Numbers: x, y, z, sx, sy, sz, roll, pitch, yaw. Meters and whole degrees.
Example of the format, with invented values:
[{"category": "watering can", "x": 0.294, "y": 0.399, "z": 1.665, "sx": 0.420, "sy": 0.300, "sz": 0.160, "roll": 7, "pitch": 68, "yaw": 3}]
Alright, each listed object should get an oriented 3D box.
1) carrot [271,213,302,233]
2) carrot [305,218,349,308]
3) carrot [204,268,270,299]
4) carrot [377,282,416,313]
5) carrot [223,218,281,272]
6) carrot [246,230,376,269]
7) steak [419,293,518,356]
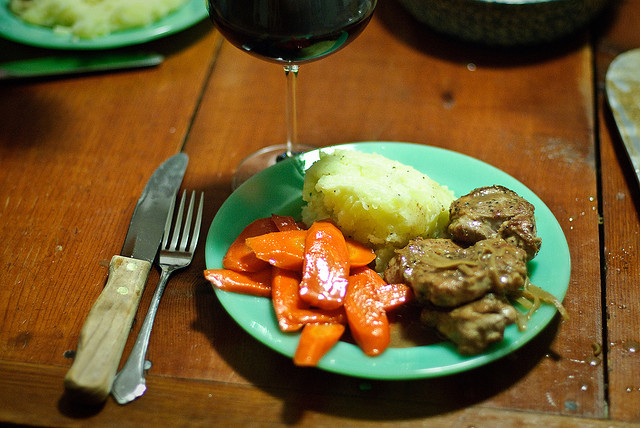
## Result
[{"category": "carrot", "x": -0.100, "y": 0.021, "z": 1.768, "sx": 0.071, "sy": 0.015, "sz": 0.050, "roll": 6, "pitch": 43, "yaw": -31}, {"category": "carrot", "x": 0.044, "y": 0.132, "z": 1.677, "sx": 0.063, "sy": 0.137, "sz": 0.286, "roll": -19, "pitch": 69, "yaw": 41}, {"category": "carrot", "x": -0.233, "y": 0.188, "z": 1.631, "sx": 0.154, "sy": 0.048, "sz": 0.089, "roll": 3, "pitch": 41, "yaw": -4}, {"category": "carrot", "x": 0.221, "y": 0.230, "z": 1.611, "sx": 0.072, "sy": 0.027, "sz": 0.106, "roll": 28, "pitch": 48, "yaw": 19}, {"category": "carrot", "x": -0.200, "y": 0.090, "z": 1.720, "sx": 0.113, "sy": 0.035, "sz": 0.173, "roll": 31, "pitch": 68, "yaw": 30}, {"category": "carrot", "x": -0.022, "y": 0.091, "z": 1.669, "sx": 0.289, "sy": 0.051, "sz": 0.158, "roll": 2, "pitch": 36, "yaw": -3}, {"category": "steak", "x": 0.400, "y": 0.279, "z": 1.555, "sx": 0.190, "sy": 0.060, "sz": 0.163, "roll": 29, "pitch": 71, "yaw": 22}]
